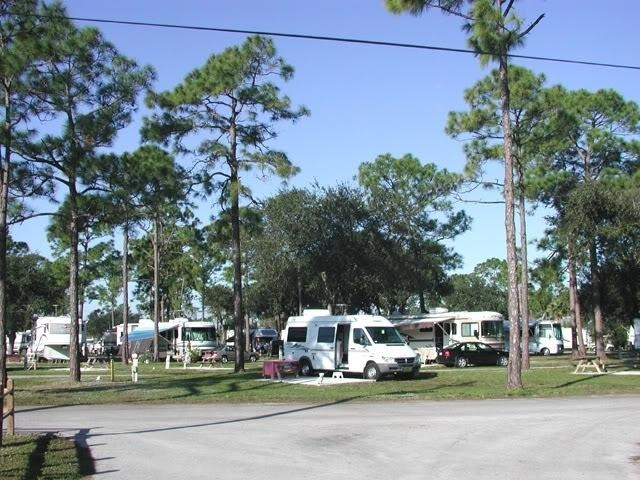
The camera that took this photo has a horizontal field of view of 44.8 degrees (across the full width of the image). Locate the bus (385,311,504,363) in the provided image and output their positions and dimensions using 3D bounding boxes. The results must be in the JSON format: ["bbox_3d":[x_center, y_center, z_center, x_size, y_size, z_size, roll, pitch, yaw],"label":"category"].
[{"bbox_3d":[7.622,5.957,48.183,6.379,3.044,3.191,0,-6,-13],"label":"bus"}]

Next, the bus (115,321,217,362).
[{"bbox_3d":[-10.890,7.293,57.079,5.146,2.447,3.375,-7,-8,35],"label":"bus"}]

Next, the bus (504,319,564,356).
[{"bbox_3d":[16.750,7.263,57.609,2.381,2.454,1.254,-1,-2,12],"label":"bus"}]

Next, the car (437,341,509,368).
[{"bbox_3d":[8.510,6.400,43.126,3.153,1.285,1.646,-2,-3,-8],"label":"car"}]

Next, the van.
[{"bbox_3d":[1.260,4.868,35.347,6.417,2.883,1.040,-3,-3,35],"label":"van"}]
